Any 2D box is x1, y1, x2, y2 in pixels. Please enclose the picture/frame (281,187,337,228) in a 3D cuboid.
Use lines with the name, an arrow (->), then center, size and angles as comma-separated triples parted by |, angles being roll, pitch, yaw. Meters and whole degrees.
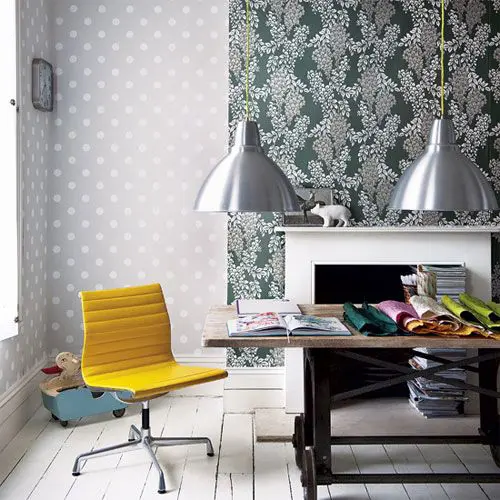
picture/frame -> 0.360, -0.258, 2.807 | 0.264, 0.222, 0.021 | 0, -1, 1

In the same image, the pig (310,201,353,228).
pig -> 0.532, -0.241, 3.107 | 0.351, 0.206, 0.118 | 2, -3, 4

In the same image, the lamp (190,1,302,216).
lamp -> -0.009, -0.384, 1.834 | 0.404, 0.944, 0.393 | -1, -1, -3

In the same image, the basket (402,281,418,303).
basket -> 0.784, 0.216, 2.305 | 0.079, 0.079, 0.075 | 2, 0, 31

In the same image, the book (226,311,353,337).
book -> 0.162, 0.305, 1.985 | 0.517, 0.046, 0.339 | 0, 4, -4

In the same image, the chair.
chair -> -0.666, 0.545, 2.592 | 0.857, 1.122, 0.909 | 1, 1, 45
